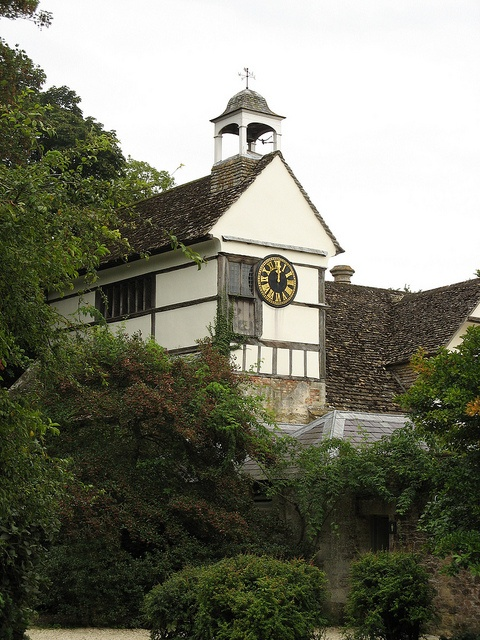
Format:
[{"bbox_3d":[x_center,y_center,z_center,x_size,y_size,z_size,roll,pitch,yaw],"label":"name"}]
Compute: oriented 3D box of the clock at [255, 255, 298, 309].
[{"bbox_3d":[0.735,-0.758,20.768,1.116,1.016,0.112,8,-7,-41],"label":"clock"}]
